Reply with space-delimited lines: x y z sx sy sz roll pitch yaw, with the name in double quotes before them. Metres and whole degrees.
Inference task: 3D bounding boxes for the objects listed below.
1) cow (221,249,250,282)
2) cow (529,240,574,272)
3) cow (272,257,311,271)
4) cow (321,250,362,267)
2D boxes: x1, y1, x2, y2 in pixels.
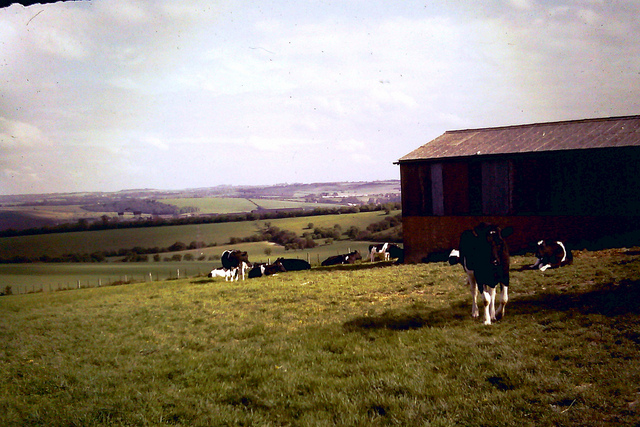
"cow" -6.218 3.837 43.873 3.082 2.178 0.861 1 3 35
"cow" 13.252 2.341 34.118 2.088 1.178 1.419 -5 1 -15
"cow" -2.124 4.120 46.786 2.769 1.480 1.061 3 3 -5
"cow" 2.071 3.839 50.688 3.727 1.028 2.377 -5 1 -26
